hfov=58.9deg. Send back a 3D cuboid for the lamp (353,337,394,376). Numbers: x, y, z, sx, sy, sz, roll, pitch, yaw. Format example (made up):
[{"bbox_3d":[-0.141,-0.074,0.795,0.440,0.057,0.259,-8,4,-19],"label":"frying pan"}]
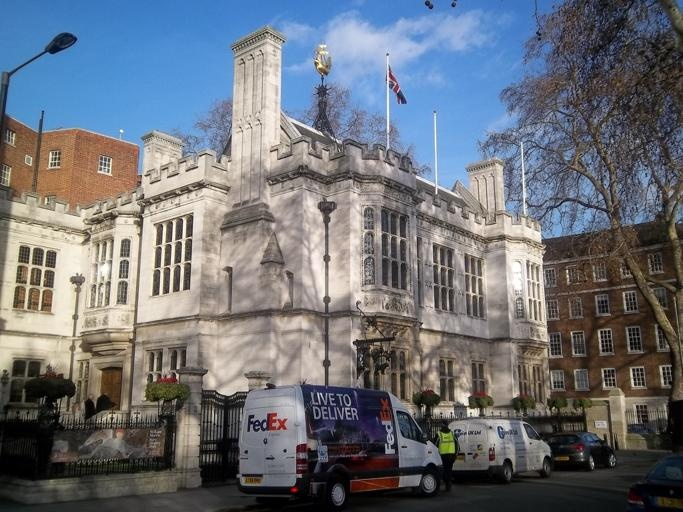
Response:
[{"bbox_3d":[1.394,4.341,28.001,1.495,1.579,1.296,2,-6,17],"label":"lamp"}]

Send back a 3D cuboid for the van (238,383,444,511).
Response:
[{"bbox_3d":[-0.043,5.858,19.099,6.081,3.131,3.165,12,-21,-41],"label":"van"}]

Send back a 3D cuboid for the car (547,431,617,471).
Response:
[{"bbox_3d":[10.901,8.598,27.170,1.531,1.097,2.970,-9,-15,36],"label":"car"}]

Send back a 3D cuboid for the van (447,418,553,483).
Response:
[{"bbox_3d":[6.184,7.475,23.650,2.143,2.030,4.215,-14,-19,42],"label":"van"}]
